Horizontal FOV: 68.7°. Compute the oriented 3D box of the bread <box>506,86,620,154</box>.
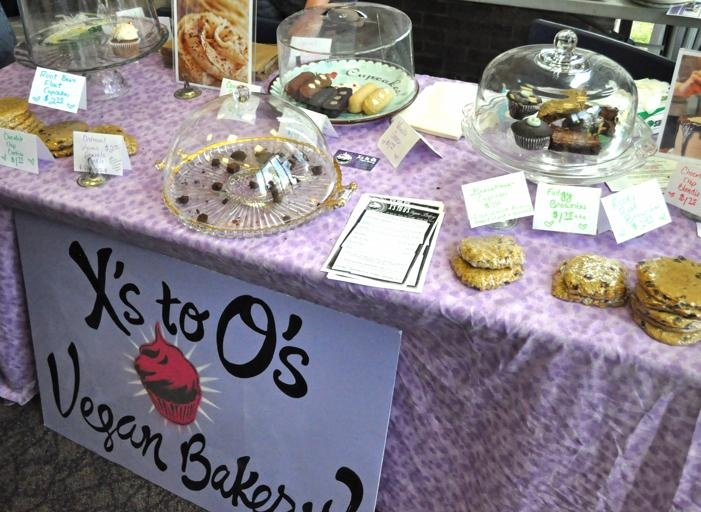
[{"bbox_3d":[0.503,-0.333,1.252,0.195,0.086,0.198,23,43,31],"label":"bread"}]
